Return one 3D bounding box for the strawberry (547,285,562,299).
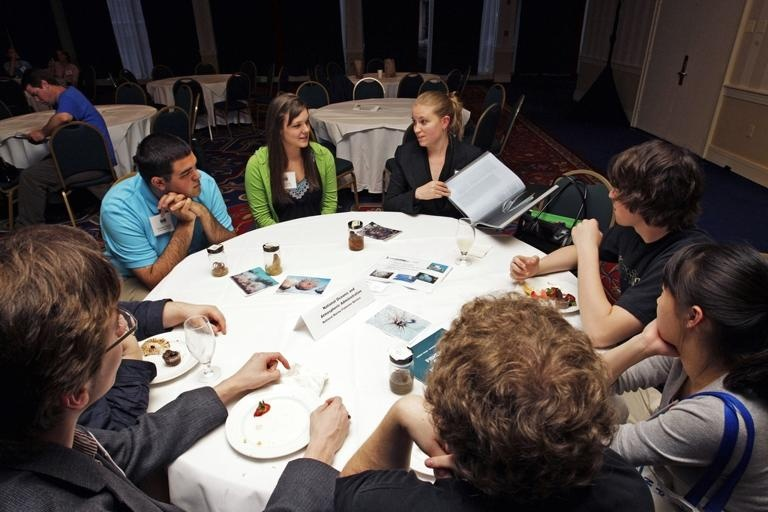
[{"bbox_3d":[0.722,0.151,1.953,0.047,0.019,0.048,15,35,17],"label":"strawberry"}]

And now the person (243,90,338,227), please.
[{"bbox_3d":[-0.635,-0.613,3.083,0.608,0.781,0.417,-15,36,-15],"label":"person"}]

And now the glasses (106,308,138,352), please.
[{"bbox_3d":[-0.710,0.197,1.283,0.106,0.029,0.103,-46,52,-14],"label":"glasses"}]

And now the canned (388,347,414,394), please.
[{"bbox_3d":[0.059,0.386,1.553,0.107,0.178,0.122,-2,24,-1],"label":"canned"}]

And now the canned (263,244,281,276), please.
[{"bbox_3d":[-0.511,0.020,2.111,0.076,0.135,0.078,28,41,34],"label":"canned"}]

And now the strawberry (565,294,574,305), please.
[{"bbox_3d":[0.781,0.180,1.952,0.038,0.015,0.036,-14,34,-30],"label":"strawberry"}]

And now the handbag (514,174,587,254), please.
[{"bbox_3d":[0.910,-0.214,2.510,0.357,0.253,0.523,10,45,39],"label":"handbag"}]

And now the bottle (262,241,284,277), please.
[{"bbox_3d":[-0.515,0.020,2.139,0.087,0.153,0.089,0,31,0],"label":"bottle"}]

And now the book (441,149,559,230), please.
[{"bbox_3d":[0.609,-0.366,2.547,0.451,0.190,0.476,-33,69,-22],"label":"book"}]
